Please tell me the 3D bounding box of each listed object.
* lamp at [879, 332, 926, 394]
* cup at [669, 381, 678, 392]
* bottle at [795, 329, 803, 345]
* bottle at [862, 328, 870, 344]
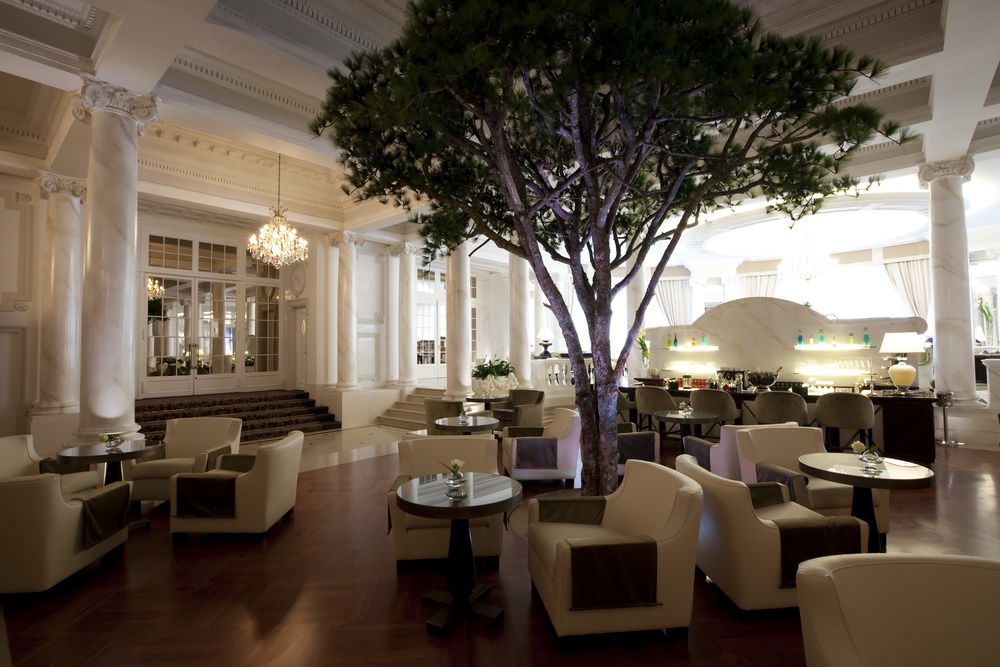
[{"bbox_3d":[6.223,0.450,10.181,0.655,0.895,0.698,1,-6,20],"label":"lamp"},{"bbox_3d":[3.050,0.937,11.576,0.175,0.184,0.133,-2,-5,8],"label":"cup"},{"bbox_3d":[5.095,0.085,11.216,0.129,0.220,0.062,-4,-4,26],"label":"bottle"},{"bbox_3d":[5.969,0.065,10.726,0.108,0.242,0.086,-4,-4,25],"label":"bottle"}]
